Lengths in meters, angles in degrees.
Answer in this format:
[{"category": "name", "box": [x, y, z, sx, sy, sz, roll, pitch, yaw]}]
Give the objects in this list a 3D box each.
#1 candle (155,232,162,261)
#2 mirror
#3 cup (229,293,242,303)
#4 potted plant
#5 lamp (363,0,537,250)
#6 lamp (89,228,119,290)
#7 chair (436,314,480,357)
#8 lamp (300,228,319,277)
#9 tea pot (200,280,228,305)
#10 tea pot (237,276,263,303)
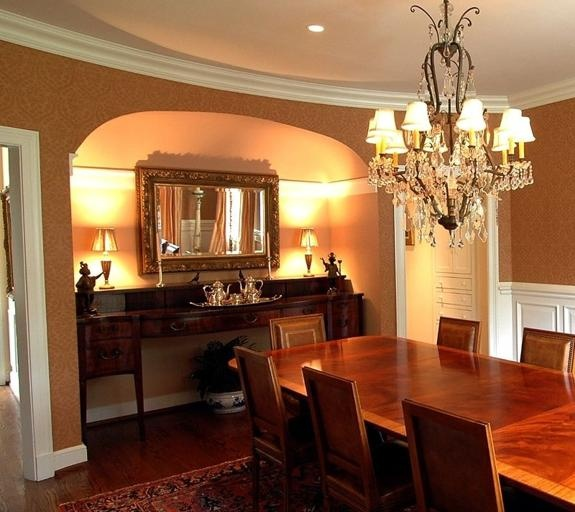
[{"category": "candle", "box": [-1.273, -0.099, 4.671, 0.049, 0.287, 0.067, -2, 2, -8]}, {"category": "mirror", "box": [-0.901, -0.377, 4.914, 1.334, 0.874, 0.057, -1, 1, -35]}, {"category": "cup", "box": [-0.497, 0.398, 4.559, 0.089, 0.059, 0.086, 1, 4, 0]}, {"category": "potted plant", "box": [-0.648, 1.060, 4.907, 1.025, 0.887, 0.901, -1, 0, -4]}, {"category": "lamp", "box": [1.287, -0.892, 3.542, 0.929, 1.606, 2.433, -1, 2, 26]}, {"category": "lamp", "box": [-1.678, 0.017, 4.384, 0.219, 0.548, 0.286, -3, 2, -20]}, {"category": "chair", "box": [1.269, 0.602, 3.608, 0.256, 0.414, 0.253, 4, -4, -39]}, {"category": "lamp", "box": [0.253, -0.050, 5.601, 0.187, 0.557, 0.363, -2, 2, 4]}, {"category": "tea pot", "box": [-0.689, 0.300, 4.543, 0.338, 0.307, 0.199, -1, 2, -13]}, {"category": "tea pot", "box": [-0.377, 0.357, 4.756, 0.351, 0.331, 0.212, 1, -9, -7]}]
